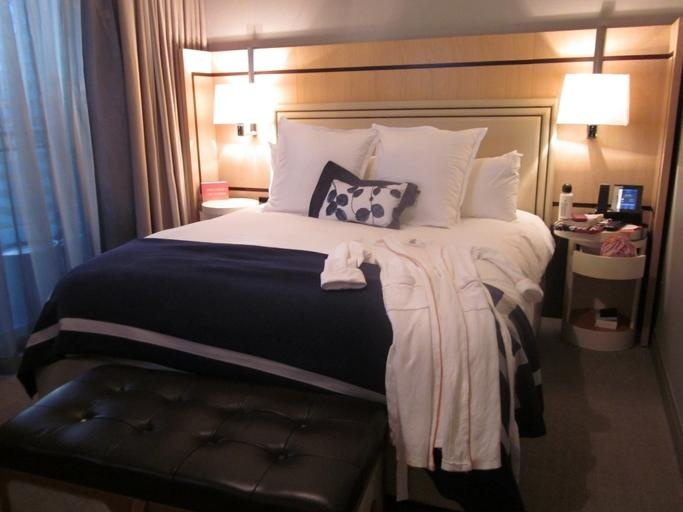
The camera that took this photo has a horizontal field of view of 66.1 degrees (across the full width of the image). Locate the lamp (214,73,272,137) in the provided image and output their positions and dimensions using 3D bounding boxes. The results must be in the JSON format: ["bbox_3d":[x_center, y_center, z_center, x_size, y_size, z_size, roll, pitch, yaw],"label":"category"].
[{"bbox_3d":[-0.735,-1.181,4.291,0.565,0.568,0.419,3,18,1],"label":"lamp"}]

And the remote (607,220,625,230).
[{"bbox_3d":[1.744,-0.192,3.355,0.100,0.040,0.154,14,21,34],"label":"remote"}]

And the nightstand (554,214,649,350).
[{"bbox_3d":[1.748,0.158,3.502,0.584,0.782,0.629,-15,18,-39],"label":"nightstand"}]

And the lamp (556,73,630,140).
[{"bbox_3d":[1.597,-0.945,3.339,0.375,0.390,0.383,8,25,21],"label":"lamp"}]

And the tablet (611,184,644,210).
[{"bbox_3d":[1.886,-0.394,3.484,0.181,0.169,0.204,10,19,25],"label":"tablet"}]

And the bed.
[{"bbox_3d":[0.493,-0.486,3.457,2.182,1.410,2.133,7,22,21],"label":"bed"}]
